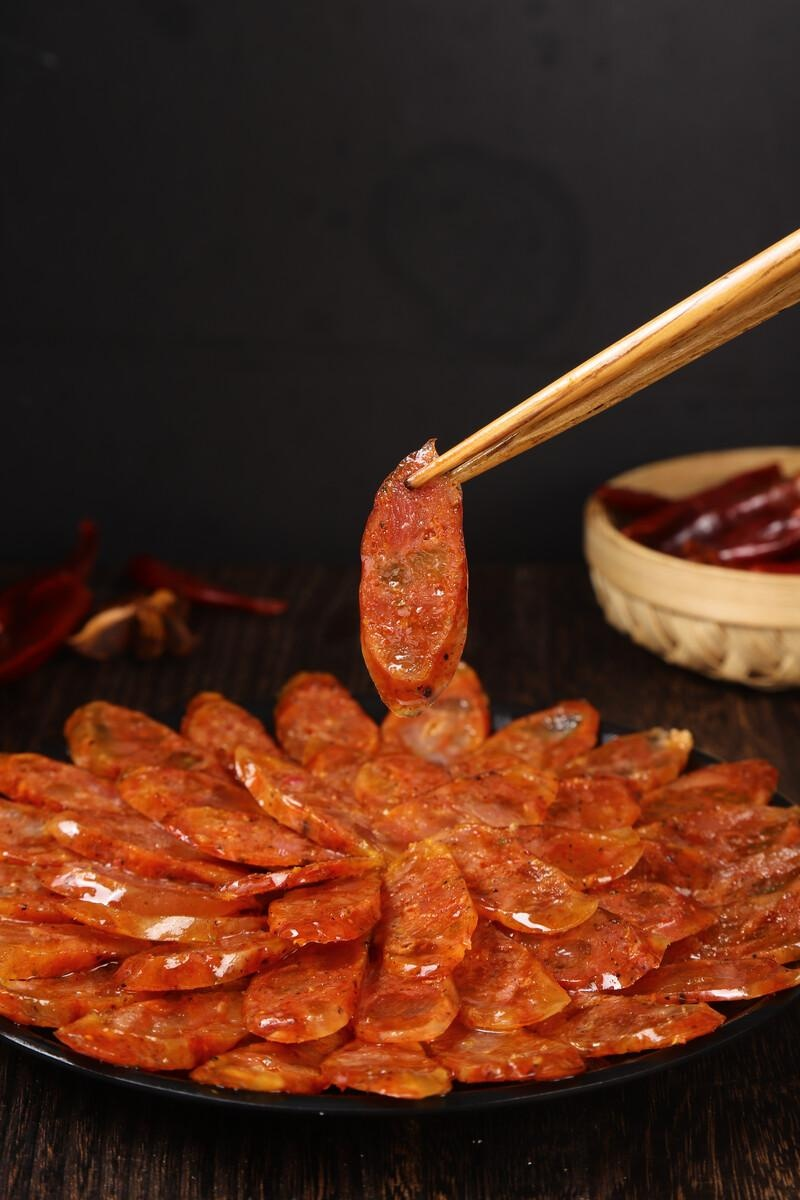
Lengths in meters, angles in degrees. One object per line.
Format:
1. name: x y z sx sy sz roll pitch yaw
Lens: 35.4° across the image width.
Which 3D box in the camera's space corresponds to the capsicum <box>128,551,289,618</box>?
1. capsicum: -0.296 -0.013 1.917 0.188 0.039 0.107 20 0 -6
